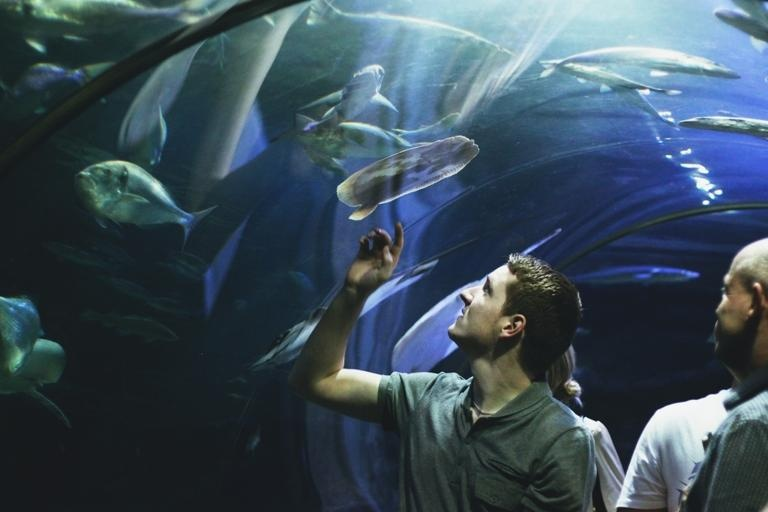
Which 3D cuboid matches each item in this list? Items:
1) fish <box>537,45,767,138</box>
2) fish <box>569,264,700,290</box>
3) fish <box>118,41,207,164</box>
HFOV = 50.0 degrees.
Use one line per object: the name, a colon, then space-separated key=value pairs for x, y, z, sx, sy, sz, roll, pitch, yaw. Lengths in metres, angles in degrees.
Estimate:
fish: x=2.352 y=-1.486 z=7.274 sx=1.151 sy=0.422 sz=0.311 roll=13 pitch=29 yaw=-16
fish: x=2.805 y=0.228 z=9.362 sx=1.266 sy=0.282 sz=0.250 roll=-1 pitch=8 yaw=-4
fish: x=-1.789 y=-1.255 z=6.541 sx=0.411 sy=0.886 sz=0.191 roll=10 pitch=20 yaw=-37
